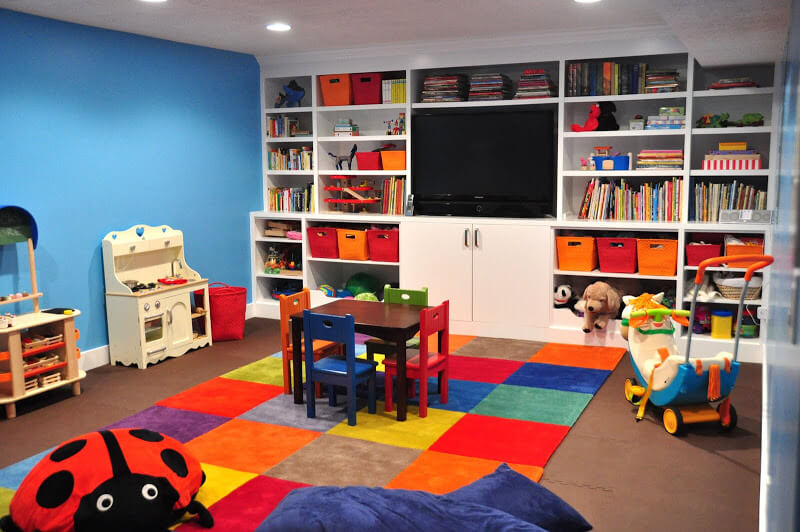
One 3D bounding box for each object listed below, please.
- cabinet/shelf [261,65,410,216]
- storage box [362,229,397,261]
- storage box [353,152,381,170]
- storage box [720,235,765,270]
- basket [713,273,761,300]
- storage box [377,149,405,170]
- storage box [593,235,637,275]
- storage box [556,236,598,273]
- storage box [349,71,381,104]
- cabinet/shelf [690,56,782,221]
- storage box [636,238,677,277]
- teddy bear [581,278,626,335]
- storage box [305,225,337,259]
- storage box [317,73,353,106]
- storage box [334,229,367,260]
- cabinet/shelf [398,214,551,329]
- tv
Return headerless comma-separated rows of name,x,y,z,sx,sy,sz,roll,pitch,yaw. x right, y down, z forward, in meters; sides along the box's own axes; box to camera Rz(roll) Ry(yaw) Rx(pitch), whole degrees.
cabinet/shelf,-0.702,-1.451,6.420,1.786,1.479,0.472,2,10,12
storage box,-0.206,-0.228,6.180,0.394,0.275,0.307,-2,5,-27
storage box,-0.362,-1.174,6.308,0.235,0.137,0.230,0,7,0
storage box,3.073,-0.175,5.111,0.477,0.279,0.477,2,6,26
basket,3.102,0.198,5.170,0.407,0.220,0.458,2,4,15
storage box,-0.094,-1.176,6.220,0.269,0.171,0.208,-1,7,-3
storage box,2.030,-0.113,5.307,0.322,0.270,0.398,1,0,28
storage box,1.743,-0.125,5.574,0.294,0.264,0.431,1,1,26
storage box,-0.349,-1.957,6.334,0.434,0.404,0.317,6,15,22
cabinet/shelf,3.081,-1.441,5.410,0.754,1.297,0.395,-2,-3,4
storage box,2.434,-0.079,5.301,0.361,0.328,0.352,1,1,27
teddy bear,2.000,0.323,5.589,0.382,0.429,0.715,10,27,31
storage box,-0.894,-0.260,6.374,0.323,0.265,0.377,2,8,13
storage box,-0.735,-1.958,6.398,0.381,0.344,0.368,7,12,37
storage box,-0.553,-0.246,6.254,0.298,0.250,0.368,2,1,23
cabinet/shelf,0.819,0.063,5.643,1.250,0.823,0.403,2,3,20
tv,0.941,-1.124,5.896,1.276,0.885,0.164,2,8,20
